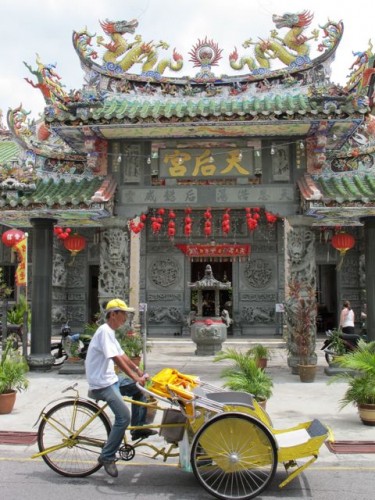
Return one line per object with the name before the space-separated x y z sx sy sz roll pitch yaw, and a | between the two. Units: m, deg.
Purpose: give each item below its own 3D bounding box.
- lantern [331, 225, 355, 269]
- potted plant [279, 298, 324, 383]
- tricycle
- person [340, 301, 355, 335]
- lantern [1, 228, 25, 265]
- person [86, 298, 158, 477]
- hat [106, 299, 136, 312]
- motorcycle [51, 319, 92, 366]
lantern | 3.987 -0.091 15.667 0.508 1.172 0.504 5 -6 -1
potted plant | 1.948 1.453 10.526 0.705 1.193 0.587 -1 -2 30
tricycle | 0.005 1.556 5.501 2.434 1.025 0.865 -2 -7 15
person | 3.344 1.390 12.958 0.275 0.657 1.051 -2 -7 13
lantern | -4.006 -0.248 14.086 0.447 0.448 0.482 -5 -8 30
person | -0.523 1.168 5.710 1.028 1.337 0.589 0 -1 0
hat | -0.606 0.499 5.633 0.248 0.094 0.138 4 -2 -14
motorcycle | -2.349 1.861 12.360 0.710 0.817 2.390 1 -6 -12
